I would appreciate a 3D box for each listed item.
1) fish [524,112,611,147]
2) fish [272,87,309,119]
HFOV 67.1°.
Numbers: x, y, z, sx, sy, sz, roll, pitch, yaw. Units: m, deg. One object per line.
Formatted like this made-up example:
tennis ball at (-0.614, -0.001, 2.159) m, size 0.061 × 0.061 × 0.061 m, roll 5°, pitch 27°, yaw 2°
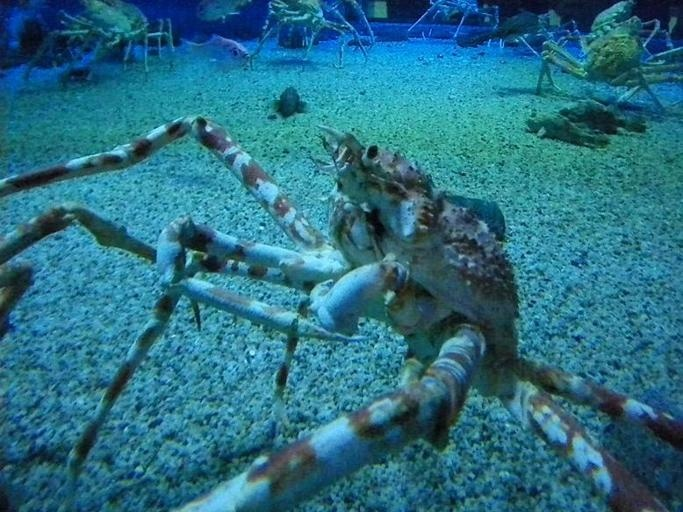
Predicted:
fish at (1.896, -1.052, 4.352) m, size 0.515 × 0.136 × 0.308 m, roll 17°, pitch 0°, yaw 19°
fish at (-0.532, -1.428, 4.755) m, size 0.383 × 0.214 × 0.294 m, roll 20°, pitch 41°, yaw 17°
